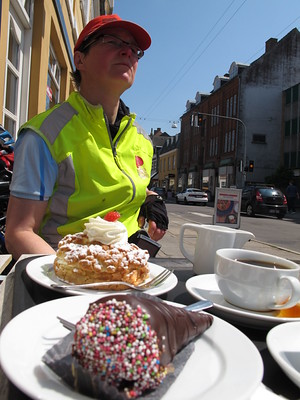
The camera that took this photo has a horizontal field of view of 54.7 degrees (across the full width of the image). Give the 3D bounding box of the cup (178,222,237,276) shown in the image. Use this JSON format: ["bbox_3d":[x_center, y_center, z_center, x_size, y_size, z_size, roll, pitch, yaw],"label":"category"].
[{"bbox_3d":[0.270,0.203,1.349,0.216,0.239,0.191,3,-1,-22],"label":"cup"}]

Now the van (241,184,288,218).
[{"bbox_3d":[5.863,0.040,15.960,1.814,1.343,3.351,2,9,-5],"label":"van"}]

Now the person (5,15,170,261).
[{"bbox_3d":[-0.375,-0.274,1.741,0.813,1.633,0.619,0,0,33],"label":"person"}]

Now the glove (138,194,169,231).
[{"bbox_3d":[0.038,0.085,2.240,0.202,0.268,0.174,-1,3,-34],"label":"glove"}]

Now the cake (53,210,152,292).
[{"bbox_3d":[-0.183,0.184,1.087,0.281,0.188,0.277,3,-12,2],"label":"cake"}]
